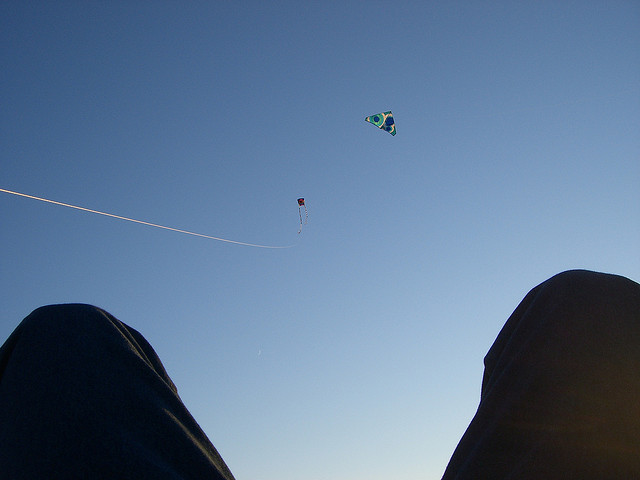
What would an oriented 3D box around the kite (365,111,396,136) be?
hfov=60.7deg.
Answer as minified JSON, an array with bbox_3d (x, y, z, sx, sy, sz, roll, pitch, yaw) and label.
[{"bbox_3d":[1.343,-2.451,11.615,0.526,0.674,0.350,-9,-33,-21],"label":"kite"}]
